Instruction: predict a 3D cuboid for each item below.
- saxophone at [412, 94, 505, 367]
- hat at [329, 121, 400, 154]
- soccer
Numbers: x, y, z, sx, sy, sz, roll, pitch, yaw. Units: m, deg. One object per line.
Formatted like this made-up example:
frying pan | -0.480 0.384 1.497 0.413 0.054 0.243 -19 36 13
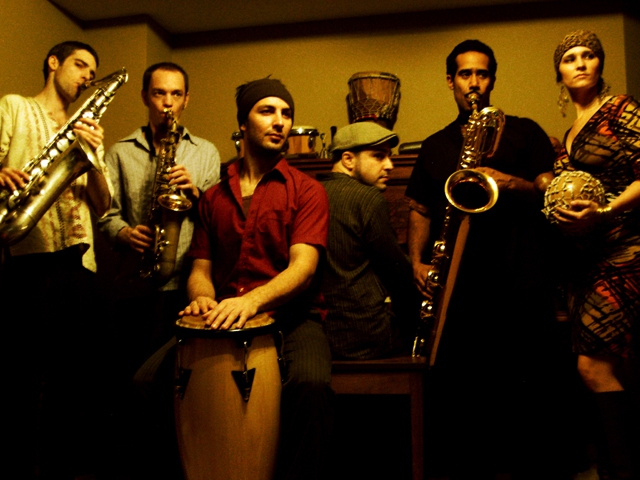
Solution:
saxophone | 0.749 -0.005 2.871 0.288 1.648 0.347 20 21 27
hat | 0.306 -0.560 2.920 0.255 0.131 0.356 -1 0 -21
soccer | 1.186 -0.194 2.510 0.227 0.247 0.262 -6 3 -17
